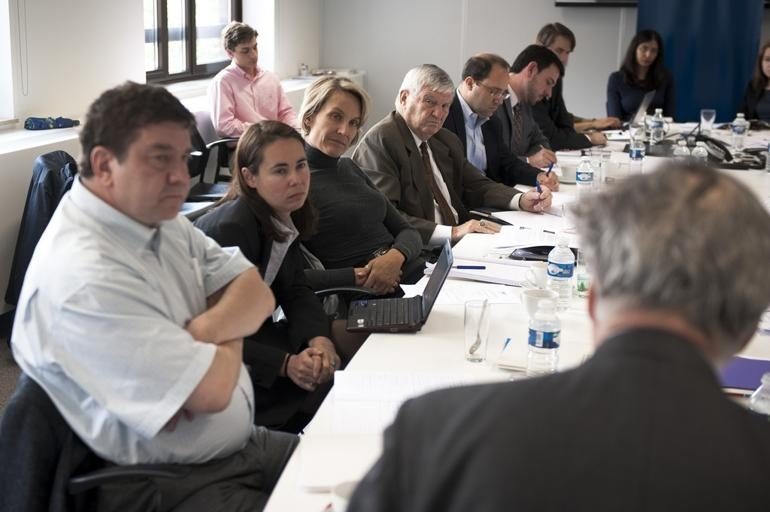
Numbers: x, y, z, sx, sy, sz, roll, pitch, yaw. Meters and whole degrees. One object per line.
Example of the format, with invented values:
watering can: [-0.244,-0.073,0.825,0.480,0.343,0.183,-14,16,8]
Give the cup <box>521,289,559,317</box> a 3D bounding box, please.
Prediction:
cup: [0.535,0.156,1.921,0.095,0.068,0.094,1,6,0]

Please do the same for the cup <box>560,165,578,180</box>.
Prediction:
cup: [1.294,-0.588,3.941,0.092,0.080,0.101,0,5,0]

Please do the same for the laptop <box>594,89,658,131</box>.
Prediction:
laptop: [2.421,-1.575,5.744,0.586,0.385,0.578,18,13,15]

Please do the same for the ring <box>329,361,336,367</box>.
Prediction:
ring: [-0.194,0.405,2.107,0.005,0.018,0.019,-16,0,41]

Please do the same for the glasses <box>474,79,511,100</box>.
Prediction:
glasses: [0.743,-1.149,3.876,0.177,0.053,0.173,49,30,21]

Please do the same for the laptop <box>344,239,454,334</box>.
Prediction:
laptop: [0.043,0.098,2.002,0.339,0.213,0.338,1,11,4]
